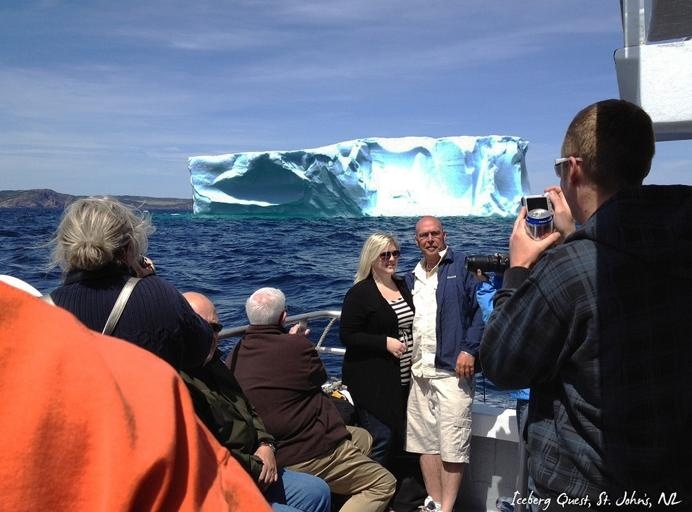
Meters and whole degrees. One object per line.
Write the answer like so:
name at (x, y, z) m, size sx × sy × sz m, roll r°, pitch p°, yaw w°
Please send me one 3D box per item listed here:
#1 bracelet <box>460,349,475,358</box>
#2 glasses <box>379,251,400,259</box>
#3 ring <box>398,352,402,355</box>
bracelet at (0.571, 0.445, 3.161) m, size 0.067 × 0.025 × 0.031 m, roll -1°, pitch 4°, yaw 5°
glasses at (0.214, -0.004, 3.481) m, size 0.057 × 0.018 × 0.058 m, roll -4°, pitch -4°, yaw -31°
ring at (0.263, 0.460, 3.274) m, size 0.014 × 0.013 × 0.013 m, roll 3°, pitch 6°, yaw 0°
